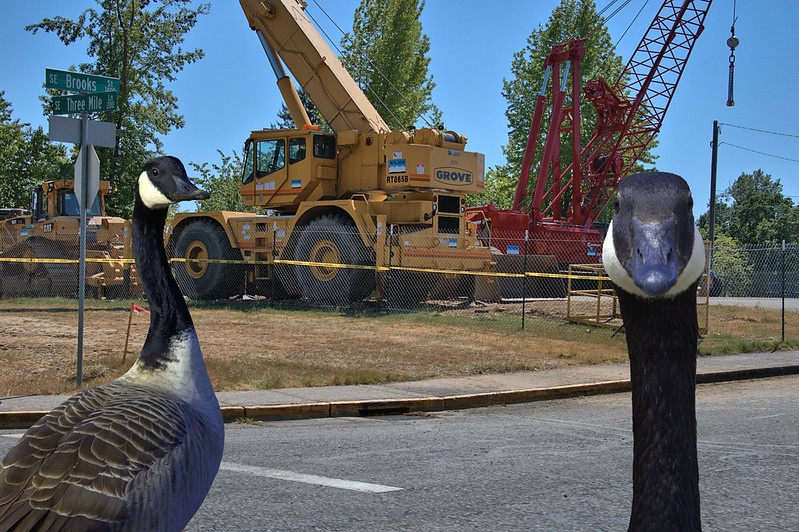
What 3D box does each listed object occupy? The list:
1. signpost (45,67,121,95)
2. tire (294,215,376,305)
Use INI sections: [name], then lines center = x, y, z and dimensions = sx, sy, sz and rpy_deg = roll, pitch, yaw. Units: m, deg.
[signpost]
center = -4.515, -2.583, 13.211
dimensions = 0.987, 0.229, 0.325
rpy_deg = 1, 0, -15
[tire]
center = -1.671, -0.203, 23.545
dimensions = 0.585, 2.178, 2.169
rpy_deg = 4, -17, -45
